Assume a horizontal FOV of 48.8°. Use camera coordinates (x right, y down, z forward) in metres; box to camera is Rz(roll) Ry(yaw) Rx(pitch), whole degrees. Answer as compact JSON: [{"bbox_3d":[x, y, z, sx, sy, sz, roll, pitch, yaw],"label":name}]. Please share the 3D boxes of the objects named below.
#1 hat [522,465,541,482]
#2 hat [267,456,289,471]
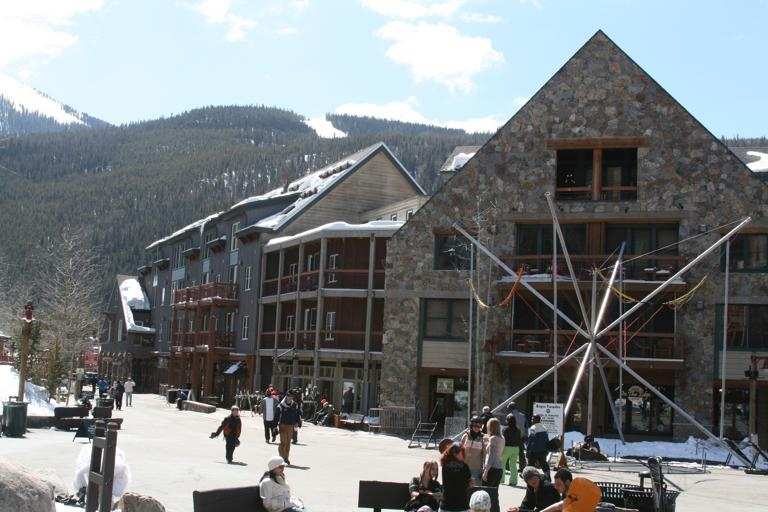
[{"bbox_3d":[3.943,5.758,22.347,0.490,0.346,0.362,1,-11,11],"label":"hat"},{"bbox_3d":[-2.814,5.505,22.529,0.513,0.256,0.382,-10,-5,-3],"label":"hat"}]
